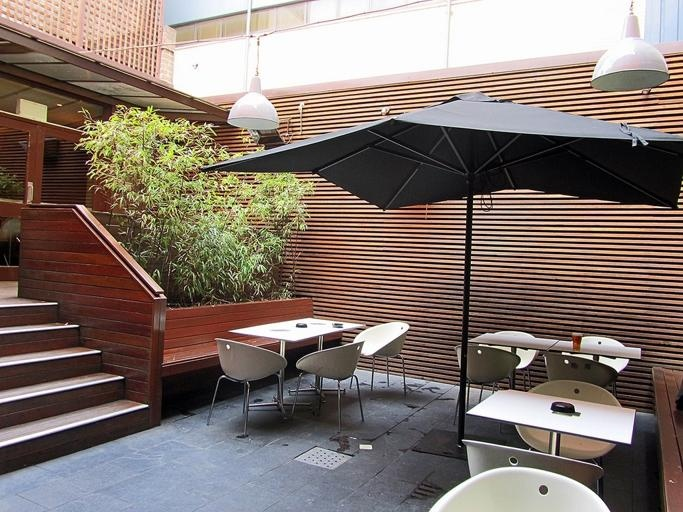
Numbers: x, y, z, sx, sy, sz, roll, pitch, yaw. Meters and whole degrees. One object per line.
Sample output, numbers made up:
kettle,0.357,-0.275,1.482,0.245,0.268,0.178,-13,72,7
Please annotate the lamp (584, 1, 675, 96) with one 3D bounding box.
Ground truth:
lamp,2.657,-1.964,4.117,0.610,0.834,0.558,5,2,4
